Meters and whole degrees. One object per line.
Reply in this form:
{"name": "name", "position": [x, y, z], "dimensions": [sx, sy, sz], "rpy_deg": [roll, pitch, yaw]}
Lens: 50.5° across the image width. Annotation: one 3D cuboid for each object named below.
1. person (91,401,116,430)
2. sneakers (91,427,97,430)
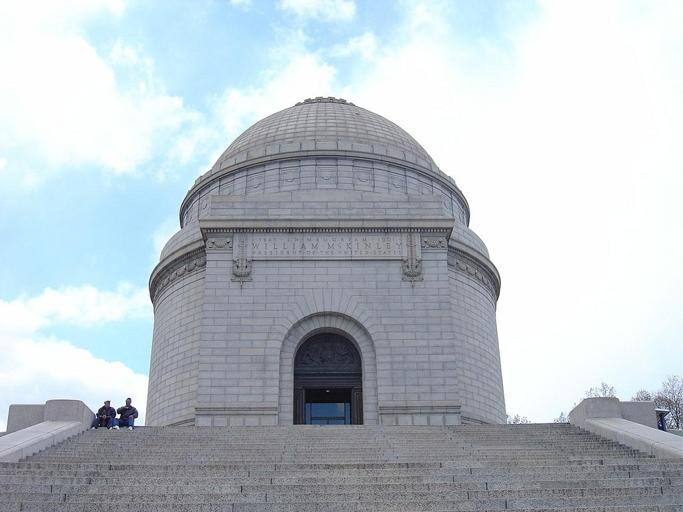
{"name": "person", "position": [-6.842, 4.548, 20.881], "dimensions": [0.616, 0.854, 1.452], "rpy_deg": [9, -32, -16]}
{"name": "sneakers", "position": [-7.147, 4.961, 20.816], "dimensions": [0.161, 0.108, 0.053], "rpy_deg": [-3, -39, 8]}
